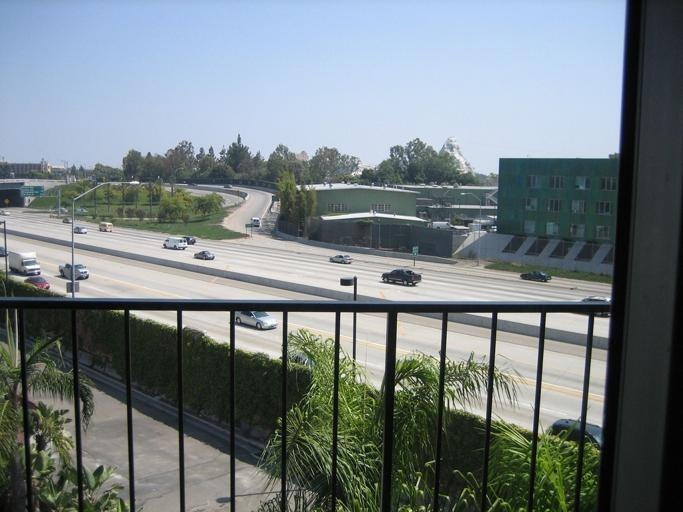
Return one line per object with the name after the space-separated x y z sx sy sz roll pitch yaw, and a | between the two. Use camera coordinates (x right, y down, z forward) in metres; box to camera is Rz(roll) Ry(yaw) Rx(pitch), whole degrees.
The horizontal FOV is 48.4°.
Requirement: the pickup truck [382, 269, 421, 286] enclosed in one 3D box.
3.089 1.023 37.961 1.737 0.809 0.830 9 8 35 | pickup truck
